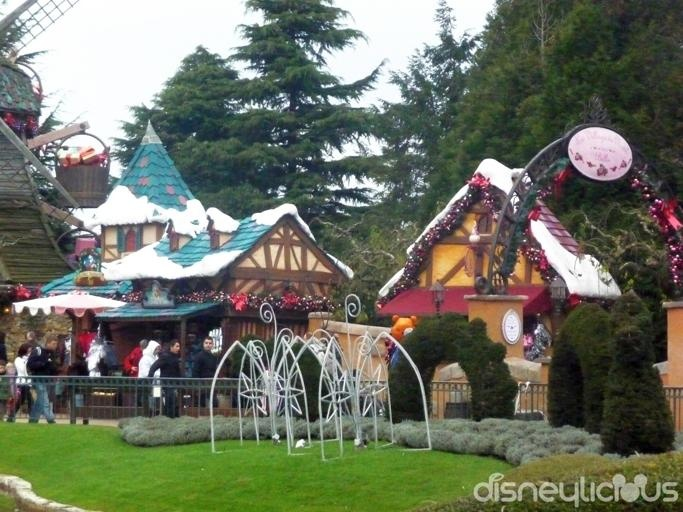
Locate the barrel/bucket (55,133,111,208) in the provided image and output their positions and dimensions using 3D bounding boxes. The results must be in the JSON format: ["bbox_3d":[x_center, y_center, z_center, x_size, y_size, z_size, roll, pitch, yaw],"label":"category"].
[{"bbox_3d":[-9.217,-3.176,49.954,1.784,3.046,1.433,-13,-22,38],"label":"barrel/bucket"}]

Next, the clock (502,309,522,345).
[{"bbox_3d":[4.591,1.879,37.631,0.098,0.980,0.973,-7,-5,36],"label":"clock"}]
